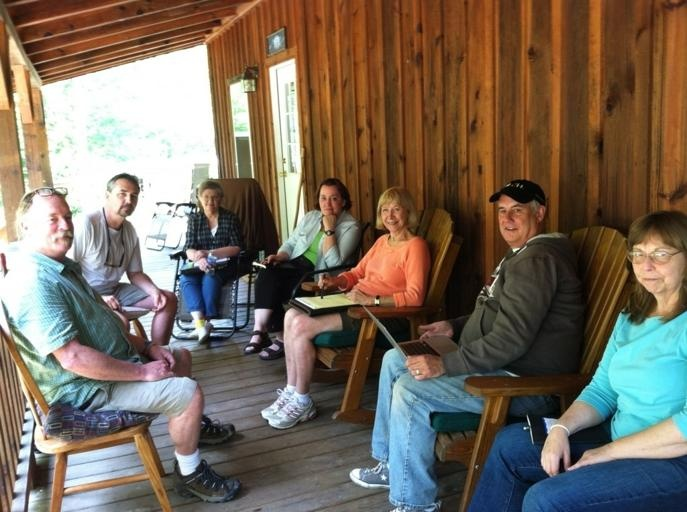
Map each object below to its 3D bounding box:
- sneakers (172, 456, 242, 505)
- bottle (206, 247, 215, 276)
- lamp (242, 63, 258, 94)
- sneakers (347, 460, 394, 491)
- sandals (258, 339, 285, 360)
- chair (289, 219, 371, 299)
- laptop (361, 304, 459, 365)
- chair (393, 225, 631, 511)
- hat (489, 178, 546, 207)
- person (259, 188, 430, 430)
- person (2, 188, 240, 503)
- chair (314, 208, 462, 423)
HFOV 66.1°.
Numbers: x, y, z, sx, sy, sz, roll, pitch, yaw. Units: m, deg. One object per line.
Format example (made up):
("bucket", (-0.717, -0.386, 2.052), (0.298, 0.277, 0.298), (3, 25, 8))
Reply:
("sneakers", (-0.669, 1.113, 2.685), (0.393, 0.179, 0.146), (4, 17, 4))
("bottle", (-1.193, 0.038, 4.675), (0.054, 0.167, 0.122), (0, -3, 6))
("lamp", (-1.366, -2.523, 7.546), (0.251, 0.361, 0.279), (-8, 14, -19))
("sneakers", (0.142, 1.110, 2.691), (0.252, 0.101, 0.085), (4, 4, 6))
("sandals", (-0.580, 0.758, 4.302), (0.122, 0.100, 0.253), (1, 1, 33))
("chair", (-0.117, 0.038, 4.245), (0.705, 0.840, 0.485), (0, 4, -26))
("laptop", (0.388, 0.374, 2.598), (0.248, 0.145, 0.248), (-6, 9, -18))
("chair", (0.593, 0.450, 2.915), (1.231, 1.532, 1.139), (-1, 0, -4))
("hat", (0.876, -0.311, 2.611), (0.224, 0.110, 0.158), (19, 1, -15))
("person", (0.007, 0.338, 3.407), (1.133, 1.340, 0.887), (-9, 15, -29))
("person", (-0.910, 0.318, 3.393), (1.644, 1.926, 1.183), (-1, 11, -16))
("chair", (0.340, 0.327, 3.963), (1.291, 1.626, 1.252), (1, 1, -20))
